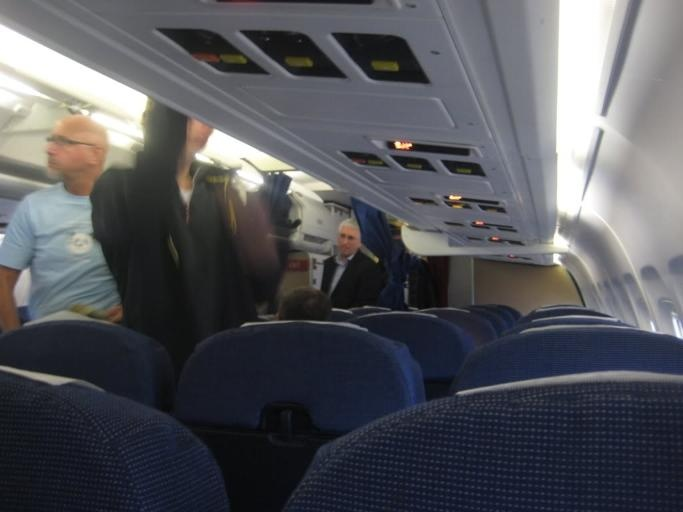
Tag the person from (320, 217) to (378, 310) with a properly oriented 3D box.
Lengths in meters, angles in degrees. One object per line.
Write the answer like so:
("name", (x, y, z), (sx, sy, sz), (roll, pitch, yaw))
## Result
("person", (0.104, 0.104, 6.210), (0.625, 1.009, 0.718), (5, -4, -27))
